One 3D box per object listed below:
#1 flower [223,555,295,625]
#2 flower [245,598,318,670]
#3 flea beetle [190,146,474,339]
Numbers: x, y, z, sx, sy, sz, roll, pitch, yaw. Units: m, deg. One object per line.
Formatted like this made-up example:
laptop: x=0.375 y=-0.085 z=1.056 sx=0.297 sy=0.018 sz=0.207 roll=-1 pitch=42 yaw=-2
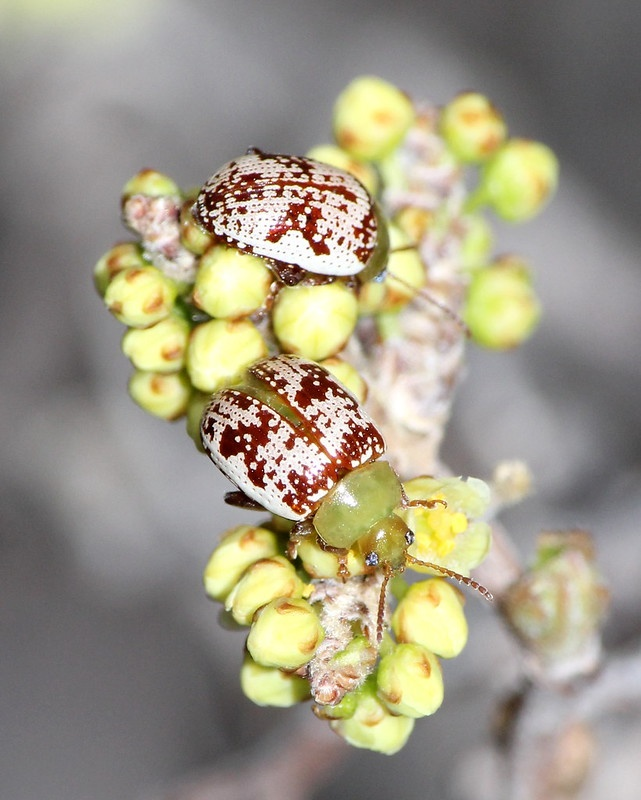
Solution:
flower: x=-0.057 y=0.177 z=0.910 sx=0.069 sy=0.020 sz=0.055 roll=-39 pitch=63 yaw=-5
flower: x=-0.030 y=0.209 z=0.878 sx=0.065 sy=0.032 sz=0.062 roll=16 pitch=73 yaw=1
flea beetle: x=-0.029 y=-0.191 z=0.995 sx=0.176 sy=0.067 sz=0.136 roll=33 pitch=74 yaw=6
